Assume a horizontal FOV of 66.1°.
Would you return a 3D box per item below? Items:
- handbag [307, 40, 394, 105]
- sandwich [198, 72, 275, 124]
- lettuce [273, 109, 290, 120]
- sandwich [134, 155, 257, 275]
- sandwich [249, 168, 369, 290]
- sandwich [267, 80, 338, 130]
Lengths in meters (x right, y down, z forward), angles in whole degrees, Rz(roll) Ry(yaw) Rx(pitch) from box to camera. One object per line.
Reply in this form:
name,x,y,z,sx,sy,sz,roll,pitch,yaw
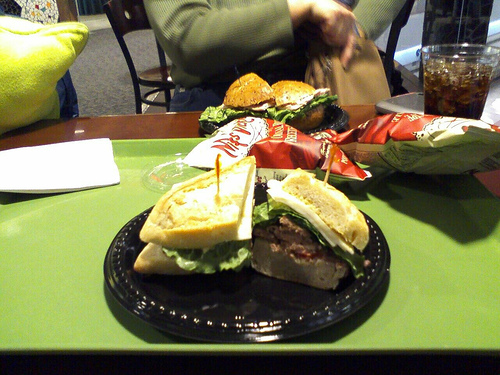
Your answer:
handbag,0.441,-0.513,1.734,0.399,0.407,0.171,-11,11,-19
sandwich,-0.025,-0.324,1.410,0.262,0.086,0.302,-8,7,9
lettuce,0.109,-0.237,1.302,0.039,0.013,0.039,-21,7,-30
sandwich,-0.112,0.060,0.826,0.235,0.094,0.293,1,28,-9
sandwich,0.114,0.084,0.762,0.195,0.146,0.209,13,30,12
sandwich,0.181,-0.275,1.337,0.231,0.112,0.198,6,38,12
